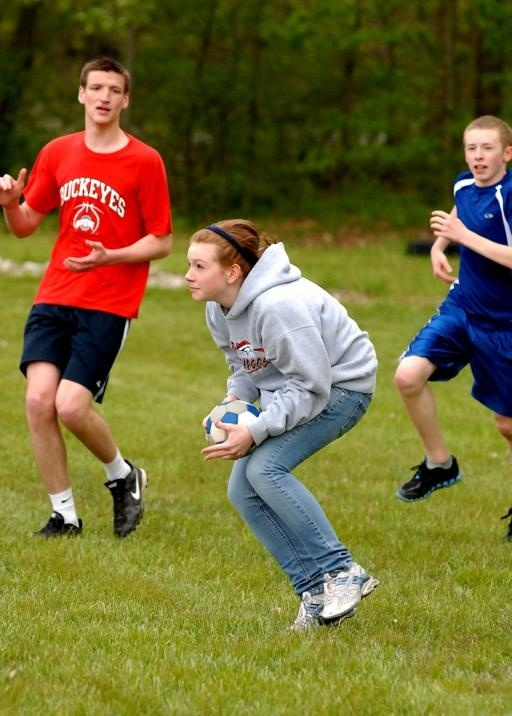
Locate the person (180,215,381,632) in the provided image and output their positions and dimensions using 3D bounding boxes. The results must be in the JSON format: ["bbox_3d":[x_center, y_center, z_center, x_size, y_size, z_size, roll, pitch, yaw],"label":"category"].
[{"bbox_3d":[0.087,0.233,3.215,0.748,1.490,0.605,3,6,-4],"label":"person"}]

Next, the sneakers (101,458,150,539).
[{"bbox_3d":[-0.640,0.695,4.305,0.164,0.383,0.228,-10,-21,40],"label":"sneakers"}]

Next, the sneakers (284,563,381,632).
[{"bbox_3d":[0.283,0.866,3.115,0.290,0.262,0.150,3,6,6],"label":"sneakers"}]

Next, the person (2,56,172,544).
[{"bbox_3d":[-0.813,-0.271,4.108,0.806,2.285,0.742,1,7,-19],"label":"person"}]
